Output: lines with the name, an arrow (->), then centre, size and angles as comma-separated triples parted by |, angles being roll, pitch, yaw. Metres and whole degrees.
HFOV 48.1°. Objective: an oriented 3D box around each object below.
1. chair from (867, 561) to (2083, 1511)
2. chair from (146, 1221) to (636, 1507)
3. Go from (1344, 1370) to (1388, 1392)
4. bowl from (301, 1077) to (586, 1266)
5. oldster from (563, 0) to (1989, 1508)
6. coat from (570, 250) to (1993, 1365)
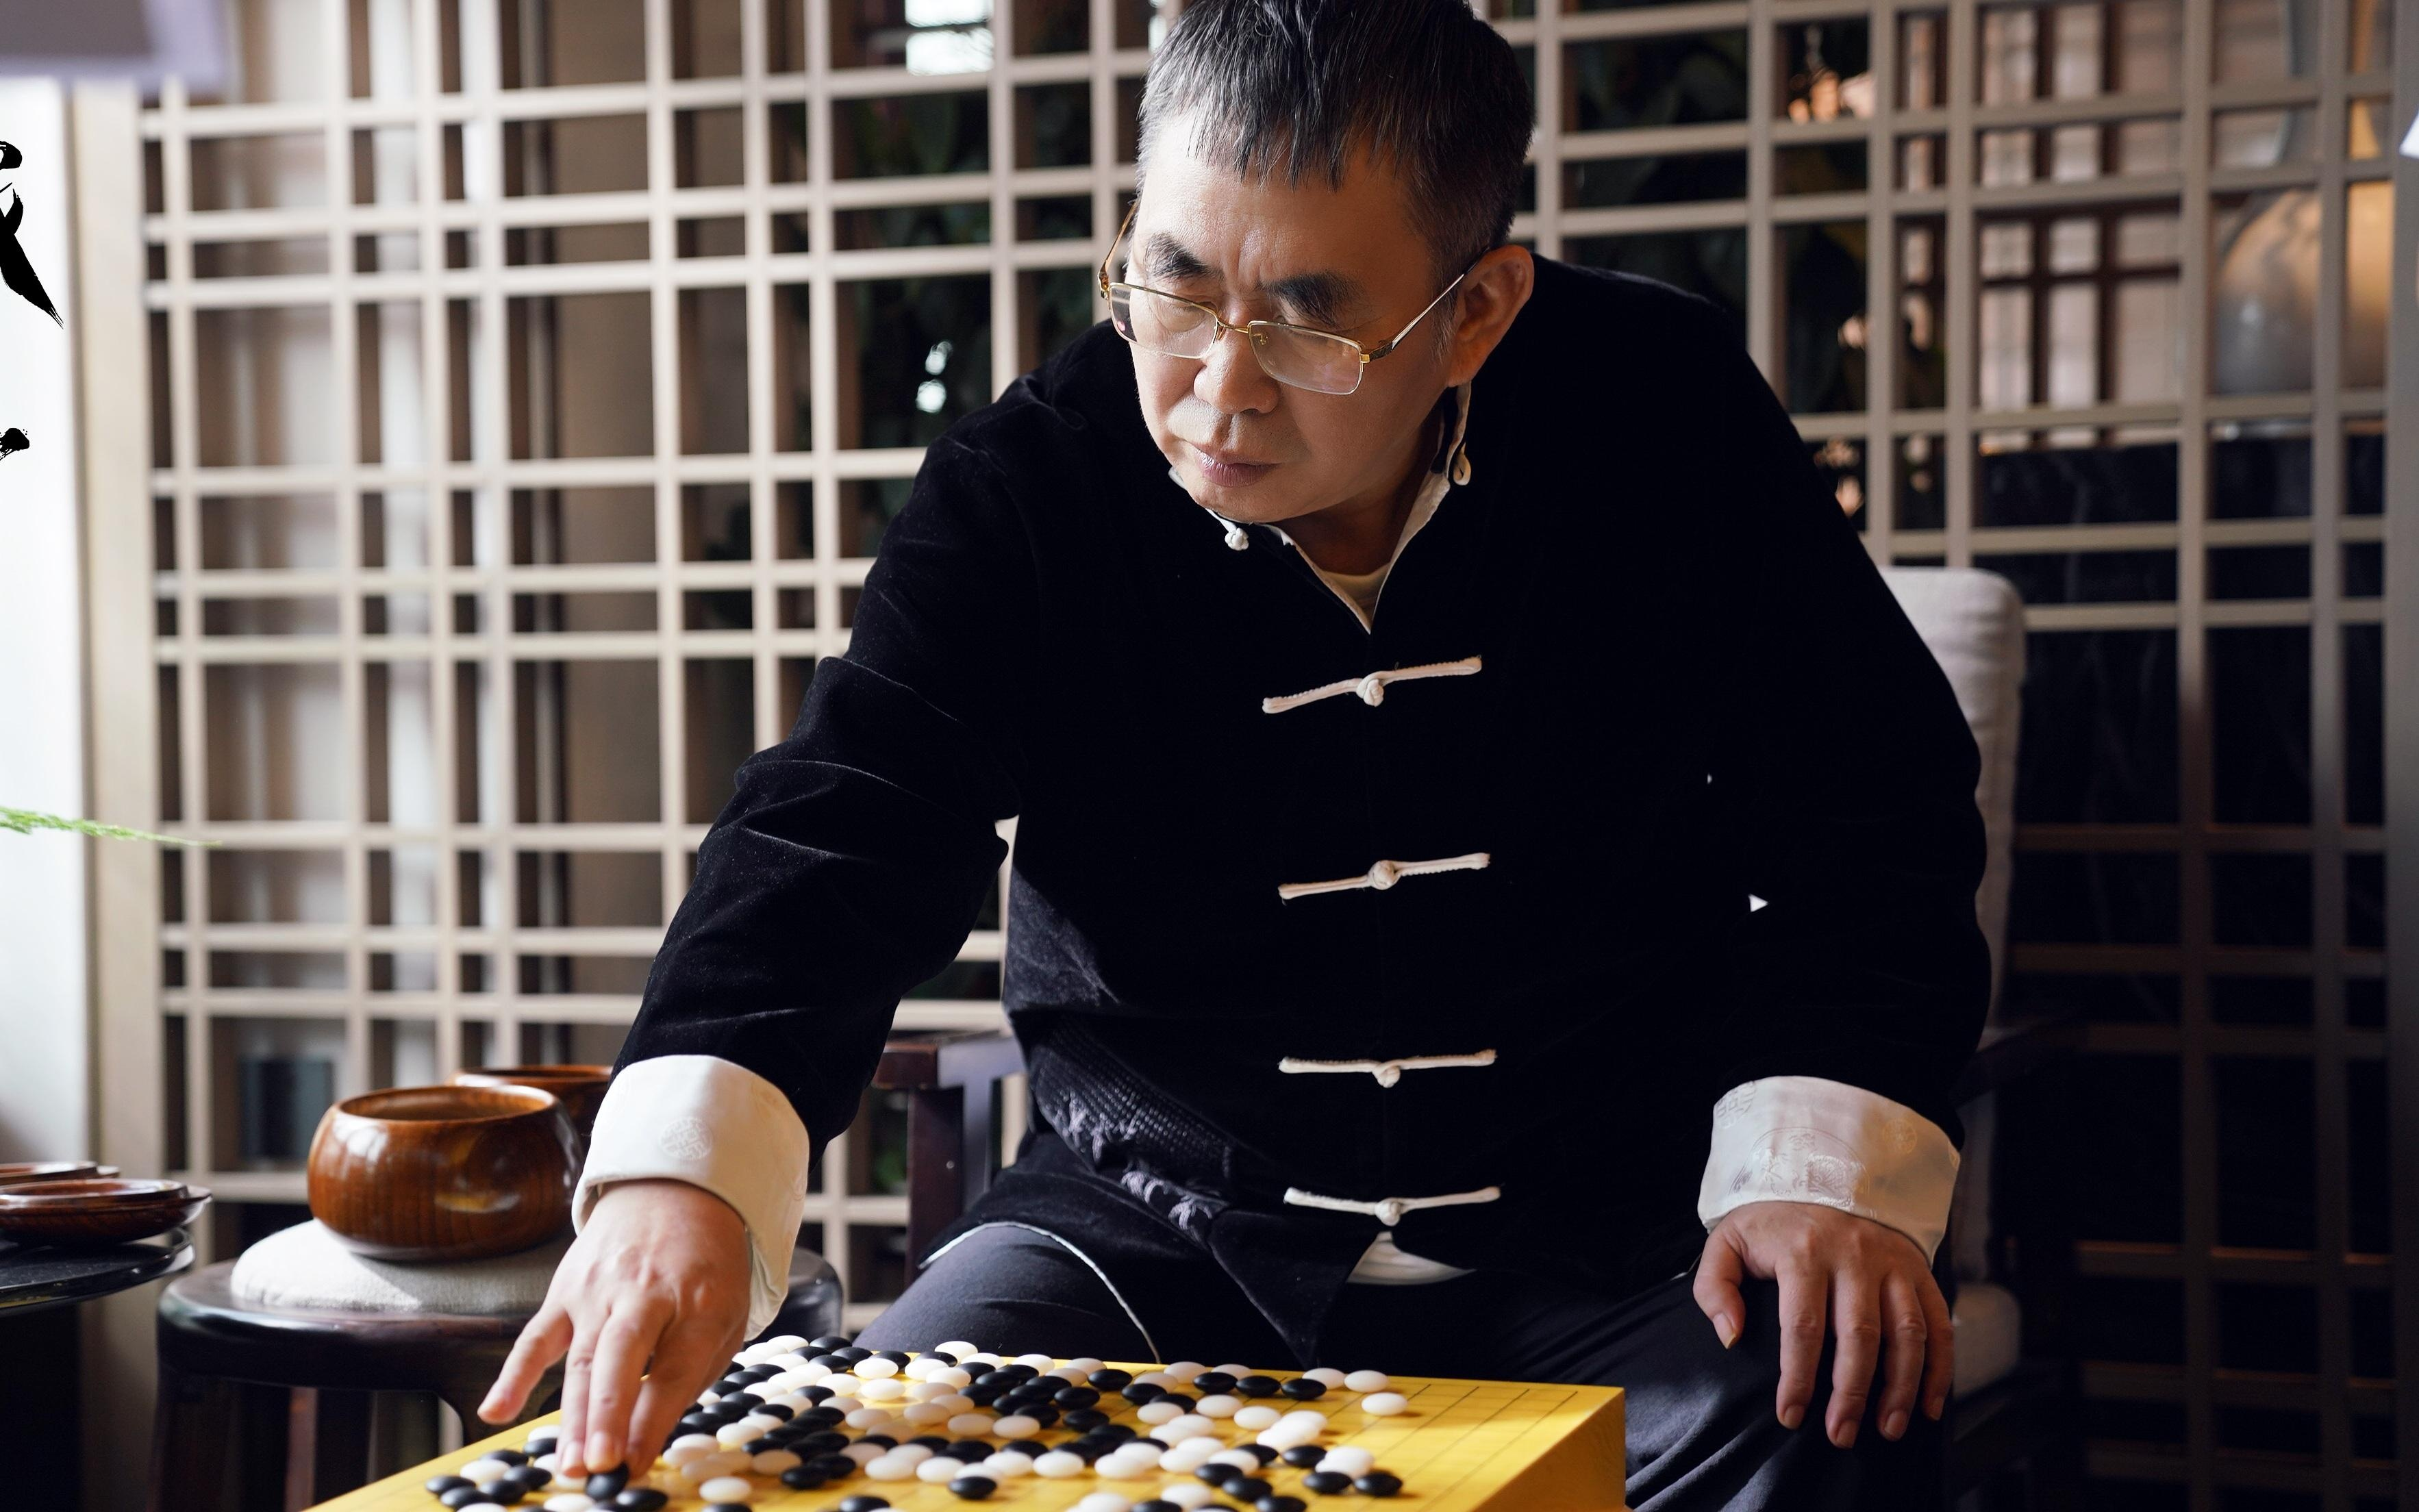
chair -> 0.274, 0.306, 3.708 | 1.152, 1.435, 1.040 | 2, 3, 3
chair -> -1.080, 0.735, 3.473 | 0.419, 0.482, 0.404 | 4, 1, -33
Go -> 0.173, 0.675, 2.937 | 0.049, 0.021, 0.048 | -2, -1, 9
bowl -> -0.986, 0.486, 3.448 | 0.271, 0.144, 0.270 | 2, -2, 0
oldster -> 0.307, -0.065, 3.638 | 1.396, 2.507, 1.754 | -1, 2, 16
coat -> 0.016, 0.135, 3.268 | 1.469, 1.111, 1.316 | -9, 15, 2
